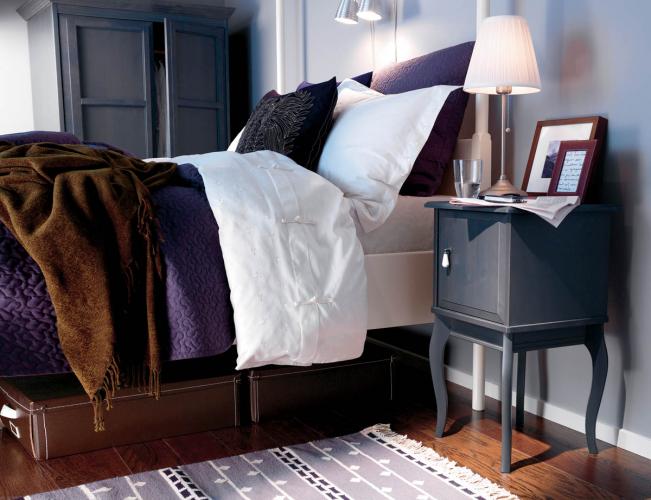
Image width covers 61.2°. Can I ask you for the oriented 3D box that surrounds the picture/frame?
[{"bbox_3d":[0.879,-0.343,2.002,0.047,0.388,0.366,16,-6,-27],"label":"picture/frame"}]

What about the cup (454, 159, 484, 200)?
[{"bbox_3d":[0.494,-0.245,1.914,0.096,0.129,0.074,5,10,31],"label":"cup"}]

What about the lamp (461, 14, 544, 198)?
[{"bbox_3d":[0.651,-0.548,2.047,0.269,0.677,0.548,3,9,21],"label":"lamp"}]

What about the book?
[{"bbox_3d":[0.608,-0.125,1.800,0.398,0.101,0.185,4,9,26],"label":"book"}]
